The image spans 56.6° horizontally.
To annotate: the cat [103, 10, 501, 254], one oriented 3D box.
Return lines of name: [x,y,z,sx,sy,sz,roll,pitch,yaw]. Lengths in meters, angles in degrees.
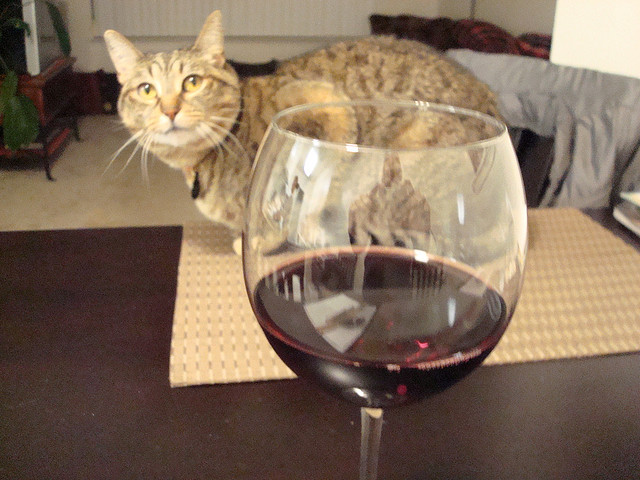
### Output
cat: [-0.016,-0.307,1.273,0.223,0.459,0.779,15,34,40]

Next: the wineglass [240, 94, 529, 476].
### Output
wineglass: [0.047,0.043,0.497,0.185,0.284,0.199,-24,40,-37]

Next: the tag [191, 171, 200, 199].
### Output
tag: [-0.205,-0.091,0.986,0.010,0.012,0.045,12,41,-14]
